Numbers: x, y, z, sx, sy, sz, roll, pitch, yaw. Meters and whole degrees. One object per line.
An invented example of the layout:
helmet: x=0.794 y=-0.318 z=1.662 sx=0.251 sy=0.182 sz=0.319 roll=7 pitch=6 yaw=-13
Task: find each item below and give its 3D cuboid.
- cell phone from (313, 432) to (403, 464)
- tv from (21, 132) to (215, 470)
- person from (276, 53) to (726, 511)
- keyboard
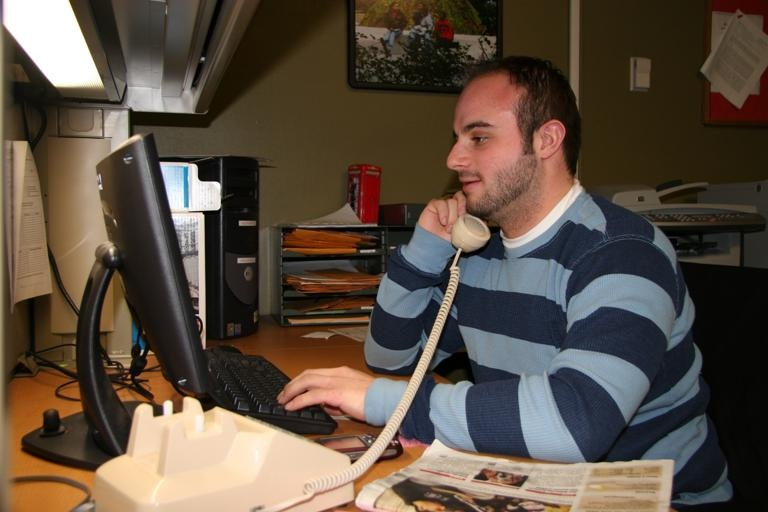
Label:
cell phone: x=-0.054 y=0.366 z=1.193 sx=0.142 sy=0.028 sz=0.072 roll=-1 pitch=12 yaw=-14
tv: x=-0.528 y=0.085 z=1.162 sx=0.366 sy=0.628 sz=0.181 roll=6 pitch=9 yaw=31
person: x=0.291 y=0.042 z=1.802 sx=1.201 sy=1.258 sz=0.946 roll=0 pitch=-8 yaw=-11
keyboard: x=-0.320 y=0.306 z=1.420 sx=0.206 sy=0.065 sz=0.535 roll=-3 pitch=8 yaw=-32
